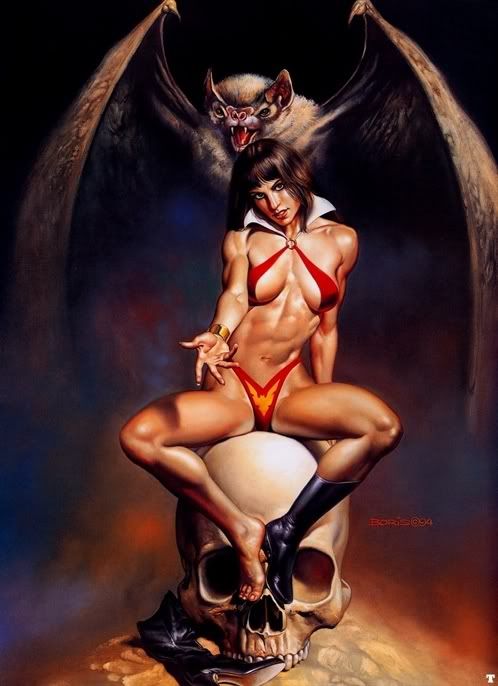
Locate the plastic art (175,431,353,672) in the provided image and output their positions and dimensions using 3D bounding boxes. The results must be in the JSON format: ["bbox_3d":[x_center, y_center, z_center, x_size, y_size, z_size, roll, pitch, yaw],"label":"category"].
[{"bbox_3d":[0.034,0.874,3.264,0.823,0.988,1.040,2,-8,-3],"label":"plastic art"}]

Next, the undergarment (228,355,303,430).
[{"bbox_3d":[0.057,0.232,3.410,0.382,0.333,0.054,3,-14,-10],"label":"undergarment"}]
